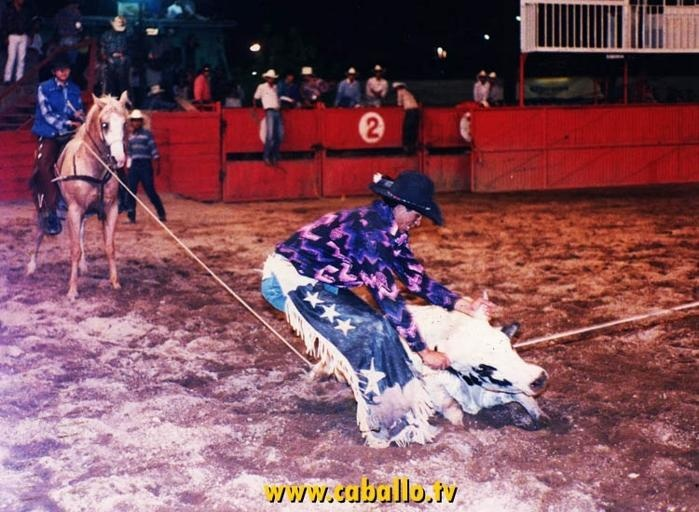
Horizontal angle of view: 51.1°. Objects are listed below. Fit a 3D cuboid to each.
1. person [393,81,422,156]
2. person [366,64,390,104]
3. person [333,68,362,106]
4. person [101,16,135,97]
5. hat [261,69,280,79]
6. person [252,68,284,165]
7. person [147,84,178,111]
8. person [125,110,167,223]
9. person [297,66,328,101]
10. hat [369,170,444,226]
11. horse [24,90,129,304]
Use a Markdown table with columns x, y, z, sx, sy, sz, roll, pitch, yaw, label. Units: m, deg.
| x | y | z | sx | sy | sz | roll | pitch | yaw | label |
| --- | --- | --- | --- | --- | --- | --- | --- | --- | --- |
| 1.342 | -3.174 | 16.711 | 0.603 | 1.587 | 1.007 | 2 | 11 | 5 | person |
| 0.629 | -3.909 | 16.753 | 0.497 | 0.918 | 1.357 | 1 | 11 | 1 | person |
| -0.046 | -3.793 | 16.456 | 0.552 | 0.866 | 0.869 | 3 | 11 | 11 | person |
| -4.918 | -4.211 | 15.377 | 0.587 | 1.608 | 1.060 | -3 | 12 | -18 | person |
| -1.613 | -3.727 | 14.956 | 0.248 | 0.174 | 0.541 | -1 | 12 | -10 | hat |
| -1.642 | -2.883 | 15.214 | 0.510 | 1.917 | 0.703 | 3 | 11 | 10 | person |
| -4.095 | -3.482 | 15.961 | 0.661 | 0.545 | 0.737 | -3 | 12 | -16 | person |
| -3.447 | -1.532 | 12.417 | 0.597 | 1.876 | 0.584 | -3 | 11 | -18 | person |
| -0.804 | -3.900 | 16.632 | 0.574 | 0.831 | 1.550 | 0 | 12 | -4 | person |
| 0.451 | -0.478 | 5.711 | 0.590 | 0.366 | 0.393 | 3 | 12 | 13 | hat |
| -3.221 | -0.831 | 9.105 | 0.976 | 2.378 | 0.886 | 0 | 11 | -3 | horse |
